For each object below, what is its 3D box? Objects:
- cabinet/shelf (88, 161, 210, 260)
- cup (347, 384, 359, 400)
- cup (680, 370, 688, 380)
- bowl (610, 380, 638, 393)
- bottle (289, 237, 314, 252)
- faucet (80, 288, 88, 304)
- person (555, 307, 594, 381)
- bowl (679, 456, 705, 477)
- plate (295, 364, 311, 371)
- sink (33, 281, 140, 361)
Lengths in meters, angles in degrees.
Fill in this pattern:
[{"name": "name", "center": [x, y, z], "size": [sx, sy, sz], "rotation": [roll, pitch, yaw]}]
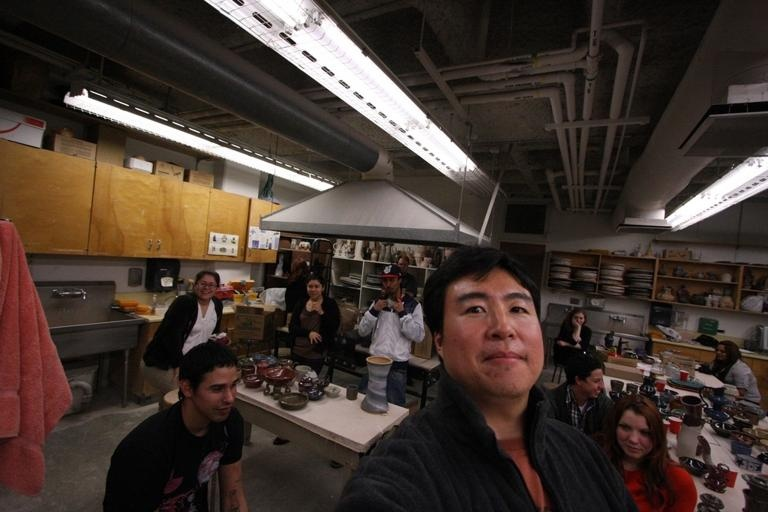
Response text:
[{"name": "cabinet/shelf", "center": [-2.820, -0.501, 5.967], "size": [1.542, 1.052, 0.843], "rotation": [7, 6, 0]}, {"name": "cup", "center": [-0.286, 1.205, 4.020], "size": [0.108, 0.112, 0.121], "rotation": [-1, 9, -45]}, {"name": "cup", "center": [3.457, 1.370, 5.199], "size": [0.116, 0.087, 0.118], "rotation": [1, -1, 0]}, {"name": "bowl", "center": [2.436, 1.346, 4.651], "size": [0.224, 0.103, 0.289], "rotation": [5, -7, -31]}, {"name": "bottle", "center": [-1.429, -0.206, 7.970], "size": [0.464, 0.235, 0.287], "rotation": [6, 3, 18]}, {"name": "faucet", "center": [-3.434, 0.455, 5.161], "size": [0.113, 0.084, 0.084], "rotation": [-36, -35, 29]}, {"name": "person", "center": [2.475, 1.105, 5.880], "size": [0.530, 0.815, 0.571], "rotation": [6, 9, 9]}, {"name": "bowl", "center": [2.407, 1.623, 3.512], "size": [0.147, 0.049, 0.142], "rotation": [1, 6, 0]}, {"name": "plate", "center": [-0.766, 1.042, 4.229], "size": [0.136, 0.049, 0.210], "rotation": [6, -1, -12]}, {"name": "sink", "center": [-3.376, 0.675, 4.952], "size": [0.786, 0.636, 1.040], "rotation": [13, 6, 40]}]
